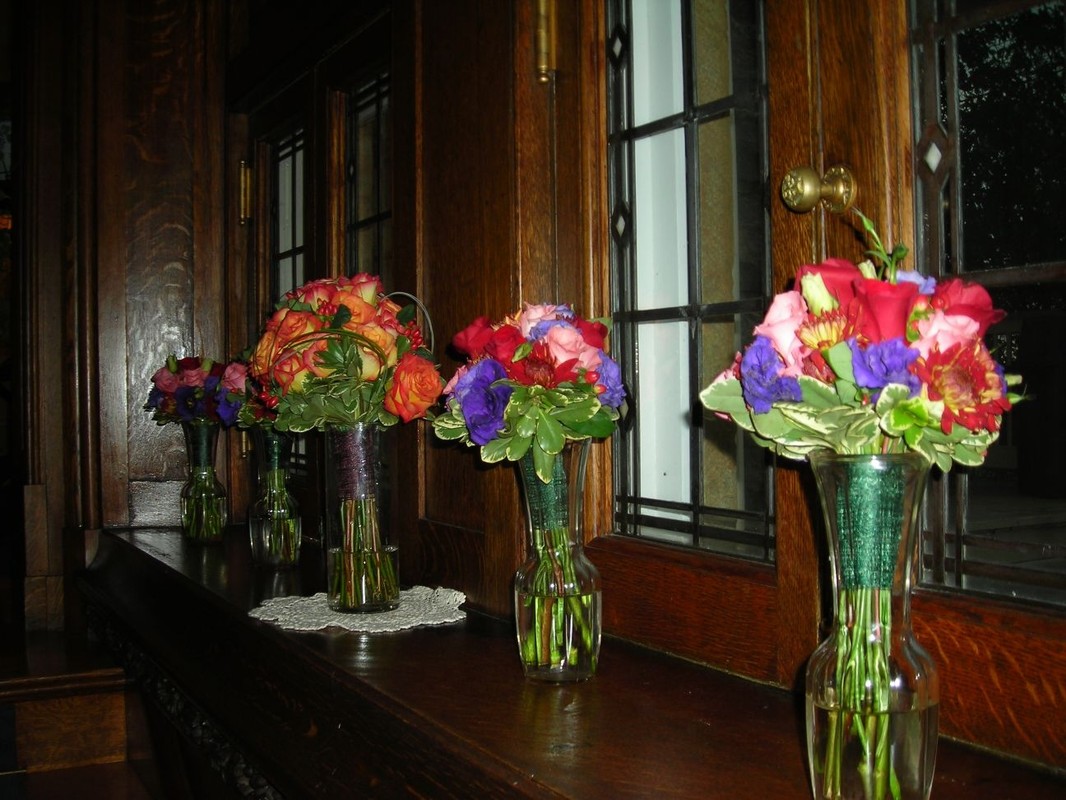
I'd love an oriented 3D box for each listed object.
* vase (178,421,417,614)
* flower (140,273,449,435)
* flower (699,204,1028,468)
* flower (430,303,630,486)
[{"bbox_3d":[-0.405,0.214,1.748,0.310,0.332,0.344,-1,1,-6],"label":"vase"},{"bbox_3d":[-0.417,-0.056,1.706,0.496,0.290,0.500,-3,3,41],"label":"flower"},{"bbox_3d":[0.312,-0.051,0.919,0.185,0.241,0.255,-6,6,-41],"label":"flower"},{"bbox_3d":[0.026,-0.040,1.248,0.188,0.172,0.221,3,33,33],"label":"flower"}]
